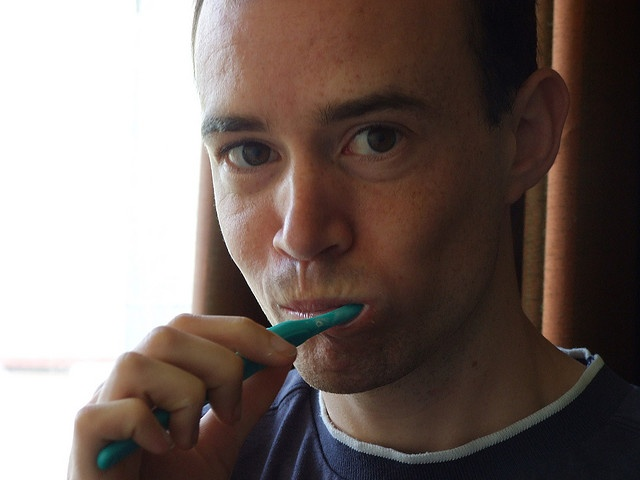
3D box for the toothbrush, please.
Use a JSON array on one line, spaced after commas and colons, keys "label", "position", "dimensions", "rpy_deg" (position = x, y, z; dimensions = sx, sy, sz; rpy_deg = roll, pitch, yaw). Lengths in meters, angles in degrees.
[{"label": "toothbrush", "position": [-0.126, 0.257, 1.579], "dimensions": [0.807, 0.102, 0.094], "rpy_deg": [27, -42, -21]}]
